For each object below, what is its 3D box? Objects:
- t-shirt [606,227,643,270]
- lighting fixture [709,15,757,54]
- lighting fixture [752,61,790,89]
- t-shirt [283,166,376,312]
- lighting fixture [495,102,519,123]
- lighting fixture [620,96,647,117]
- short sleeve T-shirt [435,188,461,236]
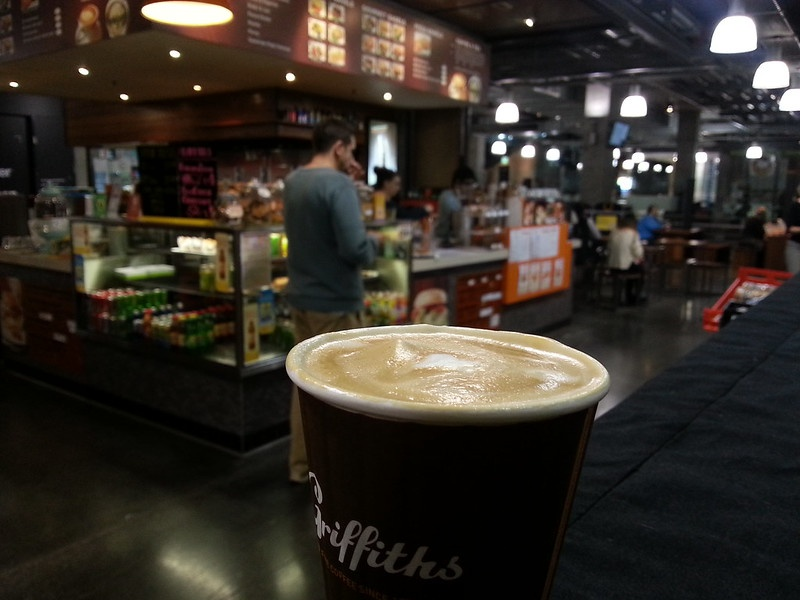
[{"bbox_3d":[2.281,-0.520,6.198,0.265,0.472,0.425,-9,15,-36],"label":"t-shirt"},{"bbox_3d":[2.347,-1.854,4.285,0.286,0.245,0.292,-2,23,0],"label":"lighting fixture"},{"bbox_3d":[3.297,-2.034,5.386,0.254,0.258,0.440,8,14,31],"label":"lighting fixture"},{"bbox_3d":[-0.368,-0.297,3.076,0.444,0.725,0.229,0,12,-3],"label":"t-shirt"},{"bbox_3d":[1.586,-2.824,8.976,0.270,0.331,0.884,3,13,13],"label":"lighting fixture"},{"bbox_3d":[3.047,-2.575,7.915,0.263,0.297,0.640,6,13,23],"label":"lighting fixture"},{"bbox_3d":[0.418,-0.903,6.230,0.280,0.481,0.363,-10,7,9],"label":"short sleeve T-shirt"}]
